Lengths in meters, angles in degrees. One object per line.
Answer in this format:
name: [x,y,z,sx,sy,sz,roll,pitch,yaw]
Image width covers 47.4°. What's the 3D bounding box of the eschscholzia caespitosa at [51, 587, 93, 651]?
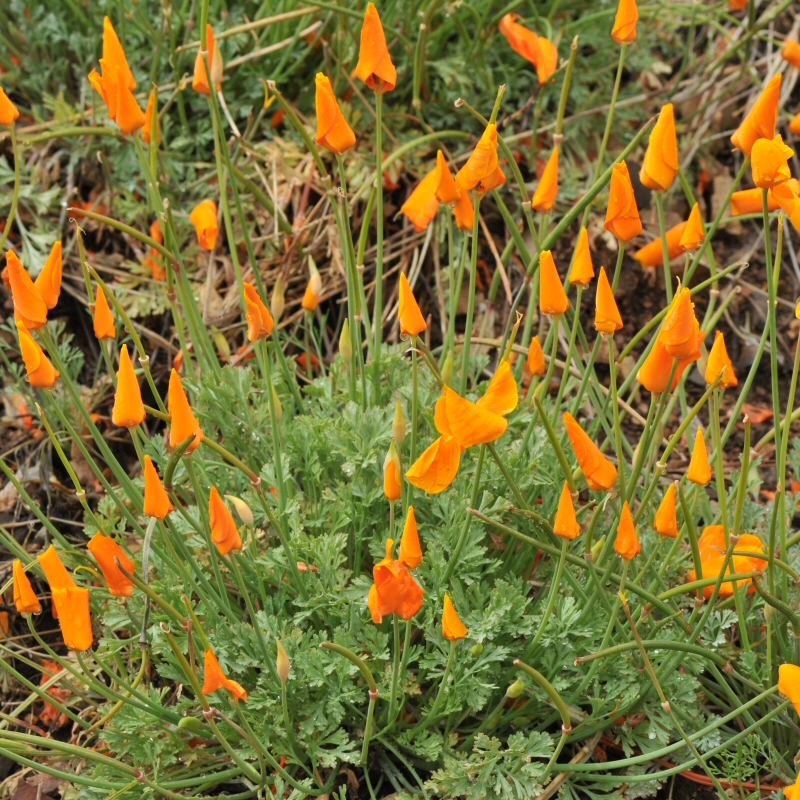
eschscholzia caespitosa: [-0.652,0.426,1.836,0.061,0.163,0.036,-6,16,-8]
